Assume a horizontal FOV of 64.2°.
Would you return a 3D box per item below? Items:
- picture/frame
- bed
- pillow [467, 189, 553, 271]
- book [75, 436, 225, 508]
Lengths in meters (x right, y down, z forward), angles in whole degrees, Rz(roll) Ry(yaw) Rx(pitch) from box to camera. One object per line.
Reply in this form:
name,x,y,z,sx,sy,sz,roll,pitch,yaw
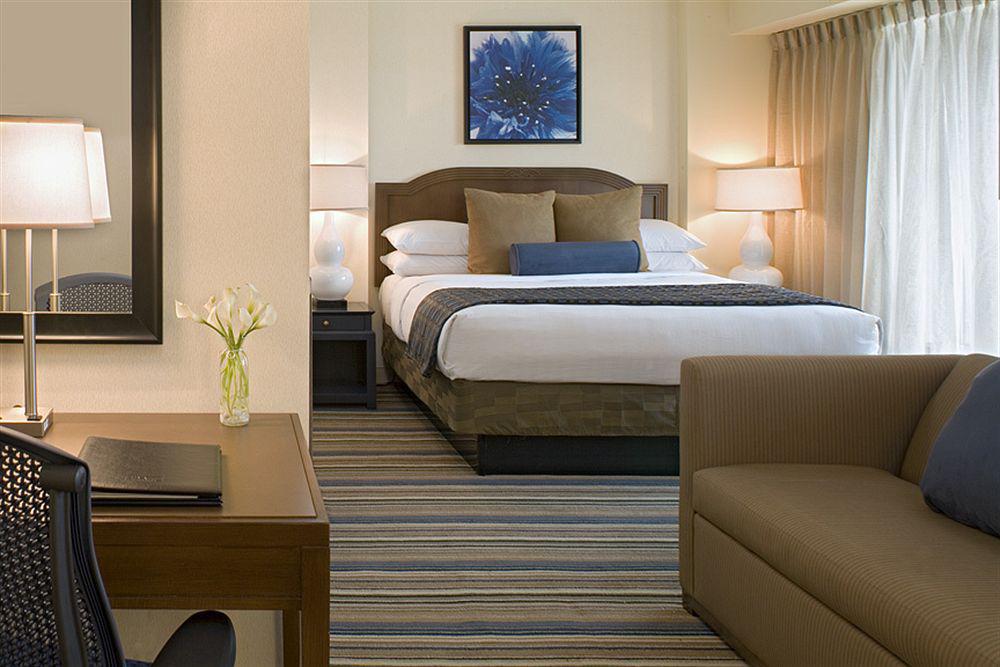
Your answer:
picture/frame,0.137,-1.894,5.941,0.913,0.892,0.065,0,1,-5
bed,0.063,-0.063,4.762,1.817,1.395,2.054,0,13,-6
pillow,0.060,-0.684,5.390,0.569,0.517,0.191,-1,-16,-3
book,-0.711,0.280,1.640,0.203,0.047,0.204,3,9,-13
